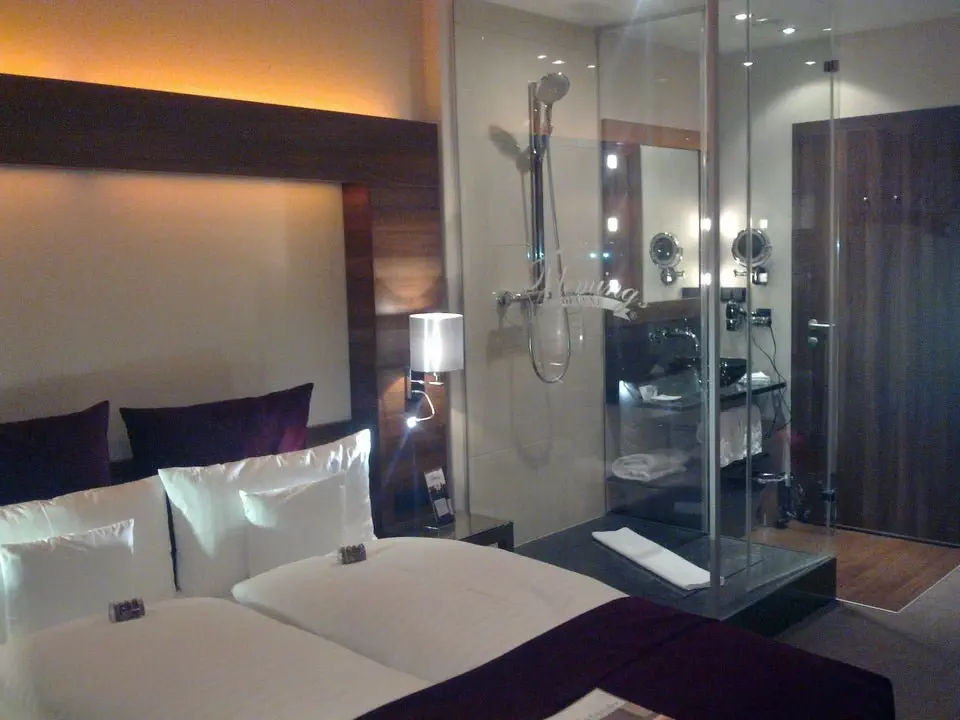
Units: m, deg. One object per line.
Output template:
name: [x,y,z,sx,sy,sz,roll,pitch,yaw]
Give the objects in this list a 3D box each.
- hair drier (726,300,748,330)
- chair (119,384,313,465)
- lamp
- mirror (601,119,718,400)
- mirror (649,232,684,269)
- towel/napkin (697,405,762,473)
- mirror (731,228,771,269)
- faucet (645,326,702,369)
hair drier: [1.126,-0.191,3.317,0.149,0.125,0.027,-11,18,-39]
chair: [-1.152,0.300,3.342,0.806,0.254,0.495,-7,-32,-26]
lamp: [-0.219,0.070,3.905,0.300,0.626,0.284,10,17,34]
mirror: [0.757,-0.603,3.375,0.540,0.931,0.246,6,15,23]
mirror: [0.806,-0.484,3.299,0.139,0.145,0.047,17,16,35]
towel/napkin: [1.095,0.354,3.353,0.299,0.178,0.050,-6,11,-44]
mirror: [1.208,-0.500,3.351,0.261,0.163,0.061,-12,19,-40]
faucet: [0.862,-0.057,3.332,0.179,0.174,0.046,4,8,30]
